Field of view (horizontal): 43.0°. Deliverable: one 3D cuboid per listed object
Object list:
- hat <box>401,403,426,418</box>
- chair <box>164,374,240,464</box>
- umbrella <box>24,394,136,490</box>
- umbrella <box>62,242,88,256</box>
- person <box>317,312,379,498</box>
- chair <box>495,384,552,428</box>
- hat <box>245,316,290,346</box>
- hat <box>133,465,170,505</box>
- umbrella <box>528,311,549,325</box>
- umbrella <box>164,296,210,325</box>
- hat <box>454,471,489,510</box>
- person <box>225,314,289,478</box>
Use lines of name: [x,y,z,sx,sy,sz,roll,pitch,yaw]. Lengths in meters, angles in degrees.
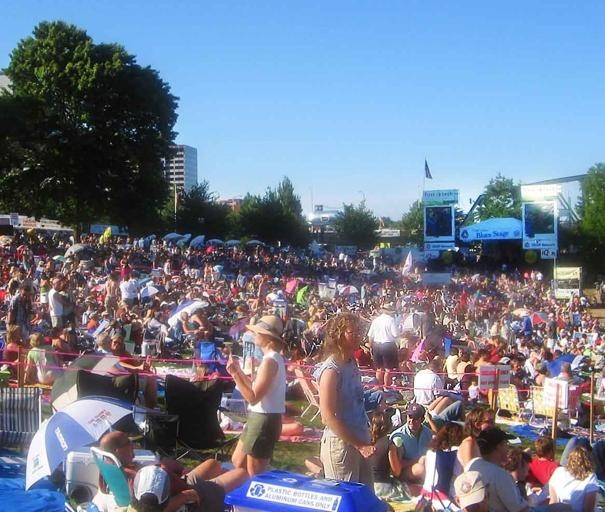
hat: [1.364,1.914,9.458,0.175,0.166,0.312,3,-13,16]
chair: [-1.288,2.056,9.746,0.795,1.281,0.916,1,-1,3]
umbrella: [-2.508,2.092,8.584,1.047,0.918,0.657,2,-3,-22]
umbrella: [-8.800,-0.277,29.948,0.754,0.298,0.707,-16,-2,11]
person: [0.418,1.400,7.352,0.522,1.703,0.494,0,-3,3]
chair: [3.625,2.423,12.581,0.547,0.721,0.958,0,1,36]
hat: [-0.340,0.740,8.005,0.297,0.167,0.295,27,-4,-10]
hat: [-1.330,2.029,6.918,0.230,0.376,0.323,4,-4,-3]
umbrella: [7.511,2.051,24.477,0.649,0.302,0.686,11,23,30]
umbrella: [-2.311,1.086,15.445,0.560,0.218,0.581,-37,-1,-3]
hat: [1.648,2.317,7.573,0.218,0.229,0.372,-15,23,18]
person: [-0.453,1.419,7.831,0.564,1.615,0.507,1,-3,-5]
